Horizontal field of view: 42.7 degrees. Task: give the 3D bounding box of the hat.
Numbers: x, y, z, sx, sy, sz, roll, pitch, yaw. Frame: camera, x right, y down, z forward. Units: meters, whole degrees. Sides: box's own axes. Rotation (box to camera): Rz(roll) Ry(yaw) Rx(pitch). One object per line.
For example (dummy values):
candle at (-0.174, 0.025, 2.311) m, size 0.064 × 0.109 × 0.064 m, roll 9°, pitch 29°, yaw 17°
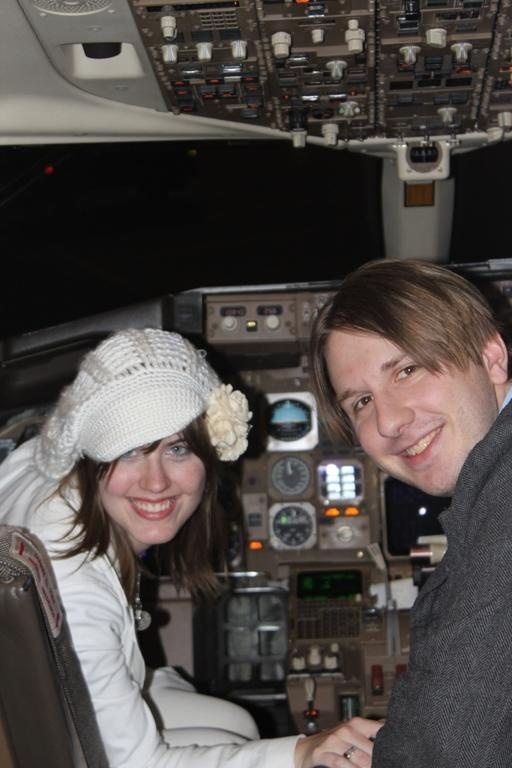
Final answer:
hat at (-0.243, 0.031, 1.420) m, size 0.365 × 0.242 × 0.358 m, roll -5°, pitch 42°, yaw -20°
